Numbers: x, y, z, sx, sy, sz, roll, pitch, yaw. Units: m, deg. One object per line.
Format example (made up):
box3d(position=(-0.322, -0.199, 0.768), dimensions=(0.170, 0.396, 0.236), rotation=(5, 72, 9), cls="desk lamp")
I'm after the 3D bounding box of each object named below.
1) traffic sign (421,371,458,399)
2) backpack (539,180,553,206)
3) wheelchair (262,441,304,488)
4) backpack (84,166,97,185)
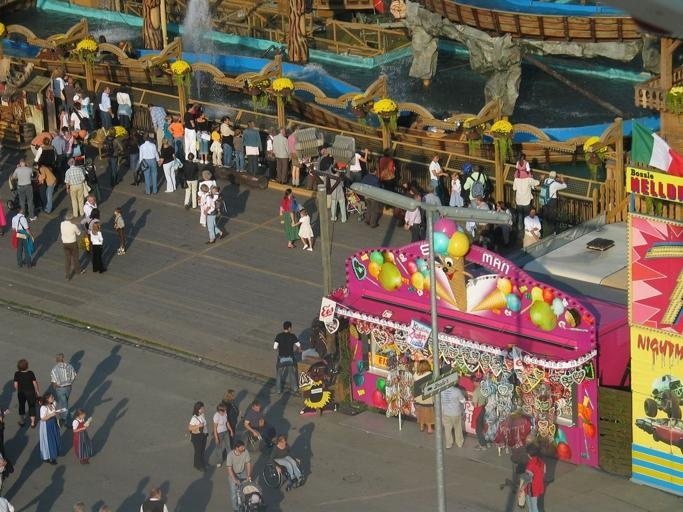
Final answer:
box3d(position=(2.215, 2.851, 34.062), dimensions=(1.380, 0.453, 0.130), rotation=(-19, 27, -34), cls="traffic sign")
box3d(position=(6.250, -1.943, 47.090), dimensions=(0.316, 0.853, 0.446), rotation=(5, 9, -5), cls="backpack")
box3d(position=(-1.335, 5.000, 37.472), dimensions=(0.972, 1.387, 0.694), rotation=(5, 9, -9), cls="wheelchair")
box3d(position=(-7.793, -2.501, 48.128), dimensions=(0.279, 0.484, 0.397), rotation=(-10, 23, 13), cls="backpack")
